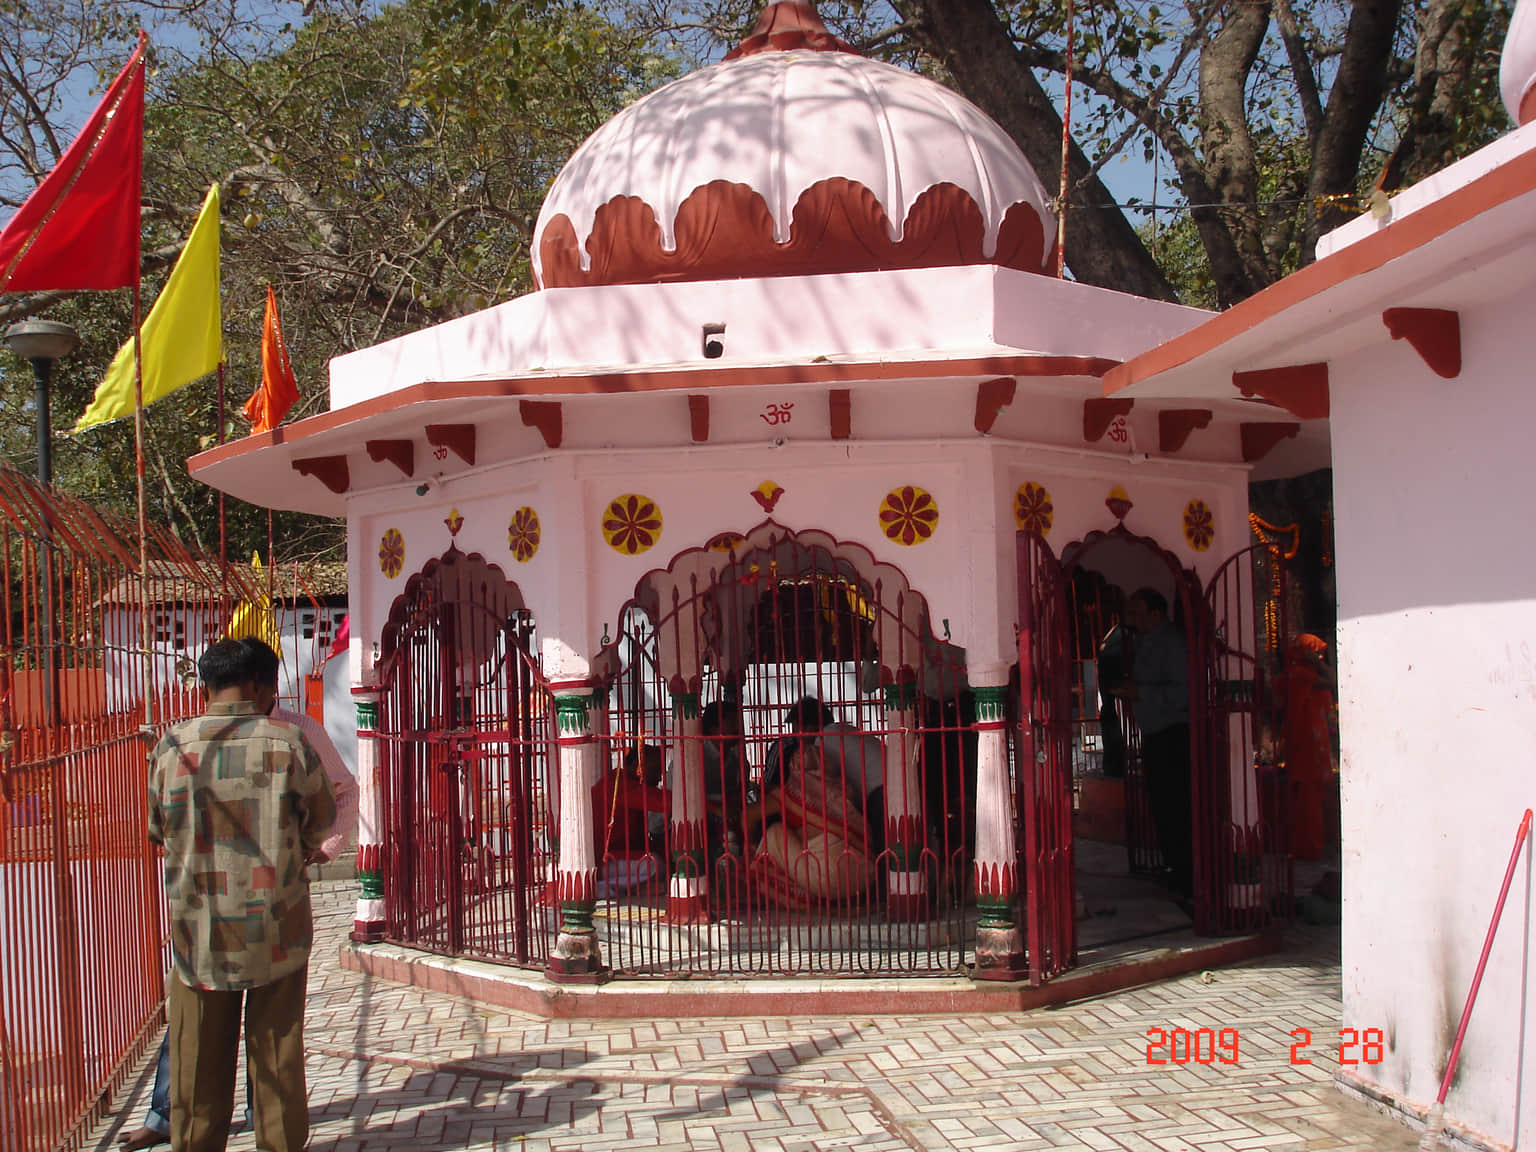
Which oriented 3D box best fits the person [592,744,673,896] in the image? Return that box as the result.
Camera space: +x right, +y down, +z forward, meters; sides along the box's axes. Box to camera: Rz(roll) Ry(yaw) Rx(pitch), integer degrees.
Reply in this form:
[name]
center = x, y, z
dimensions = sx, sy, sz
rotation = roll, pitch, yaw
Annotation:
[person]
center = -1.021, 1.753, 11.473
dimensions = 0.524, 1.253, 2.178
rotation = -3, 10, -5
